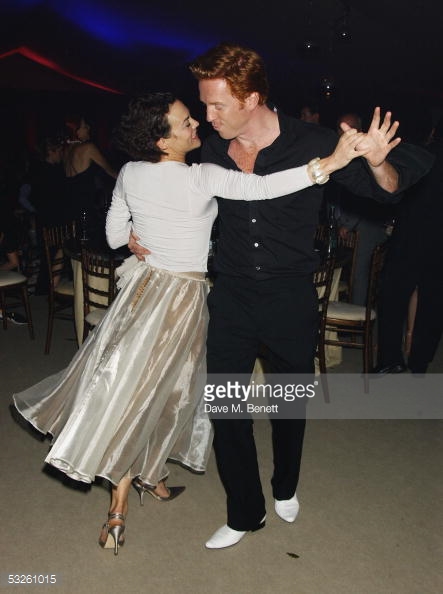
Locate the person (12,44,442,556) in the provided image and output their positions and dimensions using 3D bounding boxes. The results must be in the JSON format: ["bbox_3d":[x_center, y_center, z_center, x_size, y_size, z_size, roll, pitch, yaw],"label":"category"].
[{"bbox_3d":[0.108,0.098,1.425,0.955,1.614,0.484,4,9,25],"label":"person"}]

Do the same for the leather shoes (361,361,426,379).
[{"bbox_3d":[1.249,0.529,3.244,0.268,0.105,0.084,-11,-11,-10],"label":"leather shoes"}]
